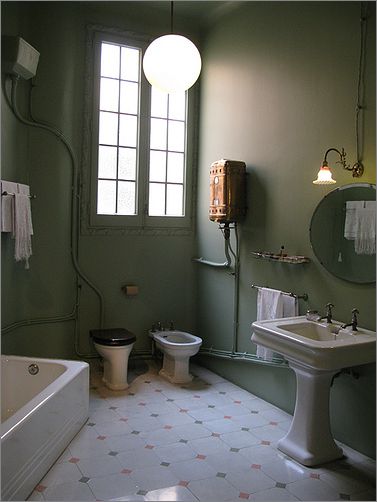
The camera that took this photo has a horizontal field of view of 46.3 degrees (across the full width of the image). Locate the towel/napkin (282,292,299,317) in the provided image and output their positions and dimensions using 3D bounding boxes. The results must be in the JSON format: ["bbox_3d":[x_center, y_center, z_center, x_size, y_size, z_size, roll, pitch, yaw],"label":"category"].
[{"bbox_3d":[0.698,0.365,2.986,0.042,0.155,0.168,-1,4,-22],"label":"towel/napkin"}]

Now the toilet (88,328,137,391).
[{"bbox_3d":[-0.650,0.912,3.719,0.361,0.430,0.421,1,1,-13],"label":"toilet"}]

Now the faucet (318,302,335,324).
[{"bbox_3d":[0.809,0.369,2.636,0.133,0.148,0.082,-1,0,-7],"label":"faucet"}]

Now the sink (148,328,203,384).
[{"bbox_3d":[-0.109,0.949,3.931,0.344,0.356,0.548,0,2,-28],"label":"sink"}]

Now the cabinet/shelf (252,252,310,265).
[{"bbox_3d":[0.625,0.053,3.100,0.174,0.075,0.566,1,1,-19],"label":"cabinet/shelf"}]

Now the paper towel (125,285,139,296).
[{"bbox_3d":[-0.525,0.363,4.098,0.116,0.097,0.086,3,4,-33],"label":"paper towel"}]

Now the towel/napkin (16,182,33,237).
[{"bbox_3d":[-1.174,-0.303,3.169,0.076,0.317,0.170,-1,0,27],"label":"towel/napkin"}]

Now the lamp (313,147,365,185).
[{"bbox_3d":[0.832,-0.503,2.590,0.239,0.213,0.340,1,1,-14],"label":"lamp"}]
